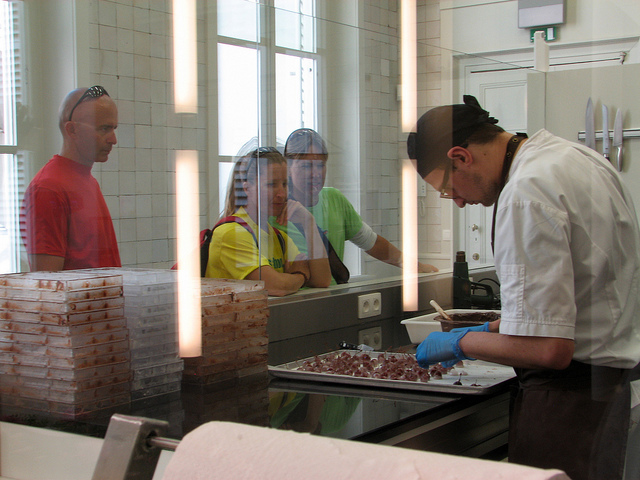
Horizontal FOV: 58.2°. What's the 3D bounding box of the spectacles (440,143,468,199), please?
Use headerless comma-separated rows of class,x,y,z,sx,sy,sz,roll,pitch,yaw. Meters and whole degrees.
spectacles,0.346,-0.169,1.472,0.097,0.102,0.029,13,20,29

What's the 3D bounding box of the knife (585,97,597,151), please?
knife,1.128,-0.467,2.380,0.010,0.231,0.043,-4,4,-41

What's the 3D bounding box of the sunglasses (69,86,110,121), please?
sunglasses,-0.524,-0.307,1.296,0.084,0.080,0.026,0,10,-21

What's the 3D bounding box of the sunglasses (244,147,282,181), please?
sunglasses,-0.203,-0.261,1.965,0.112,0.118,0.029,-1,5,-11

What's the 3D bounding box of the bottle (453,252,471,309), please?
bottle,0.574,0.164,2.315,0.085,0.237,0.055,-1,-3,23

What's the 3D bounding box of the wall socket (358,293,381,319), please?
wall socket,0.179,0.231,2.059,0.011,0.083,0.148,11,12,38
